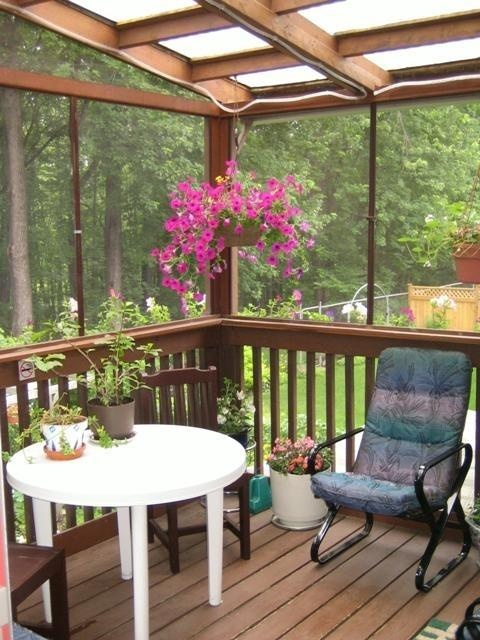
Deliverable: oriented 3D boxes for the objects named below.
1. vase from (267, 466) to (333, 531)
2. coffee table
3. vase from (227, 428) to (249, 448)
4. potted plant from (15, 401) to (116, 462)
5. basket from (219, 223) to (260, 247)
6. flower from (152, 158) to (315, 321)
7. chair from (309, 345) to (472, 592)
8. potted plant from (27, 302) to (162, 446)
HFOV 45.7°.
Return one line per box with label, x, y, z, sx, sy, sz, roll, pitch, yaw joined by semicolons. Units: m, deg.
vase;0.321;0.958;3.019;0.288;0.292;0.315;1;4;8
coffee table;-0.317;0.737;1.974;0.789;0.481;0.770;-4;6;-34
vase;-0.015;0.642;3.198;0.138;0.124;0.134;0;-2;-3
potted plant;-0.630;0.367;2.089;0.306;0.134;0.252;-3;5;-36
basket;0.000;-0.335;2.226;0.121;0.051;0.077;-1;-1;18
flower;0.042;-0.430;2.614;0.870;0.701;0.831;-4;12;-27
chair;0.729;0.647;2.690;0.639;0.977;0.788;2;5;34
potted plant;-0.584;0.236;2.539;0.649;0.633;0.586;-1;0;-20
